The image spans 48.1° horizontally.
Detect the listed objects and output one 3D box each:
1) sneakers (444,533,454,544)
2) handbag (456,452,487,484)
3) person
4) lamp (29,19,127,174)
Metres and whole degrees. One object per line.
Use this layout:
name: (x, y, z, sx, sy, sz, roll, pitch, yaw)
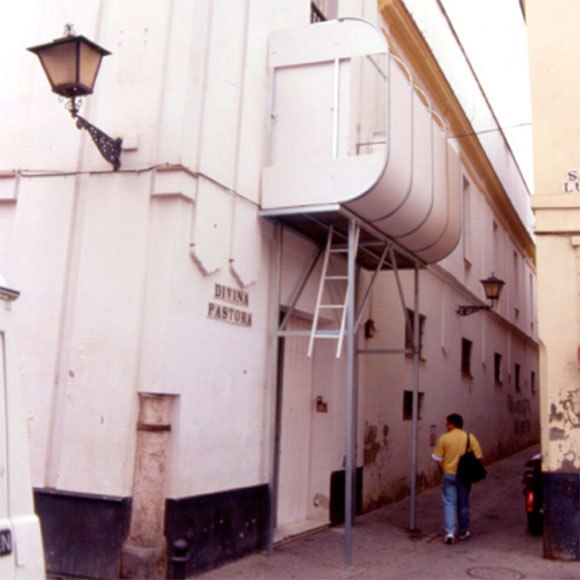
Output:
sneakers: (2.103, 3.279, 8.529, 0.067, 0.090, 0.175, -1, -18, 4)
handbag: (2.409, 2.373, 8.672, 0.366, 0.440, 0.321, -5, -12, 17)
person: (2.306, 2.534, 8.812, 0.592, 1.673, 0.655, -7, -12, 32)
lamp: (-1.846, -1.730, 5.873, 0.428, 1.303, 0.747, -3, -1, 26)
